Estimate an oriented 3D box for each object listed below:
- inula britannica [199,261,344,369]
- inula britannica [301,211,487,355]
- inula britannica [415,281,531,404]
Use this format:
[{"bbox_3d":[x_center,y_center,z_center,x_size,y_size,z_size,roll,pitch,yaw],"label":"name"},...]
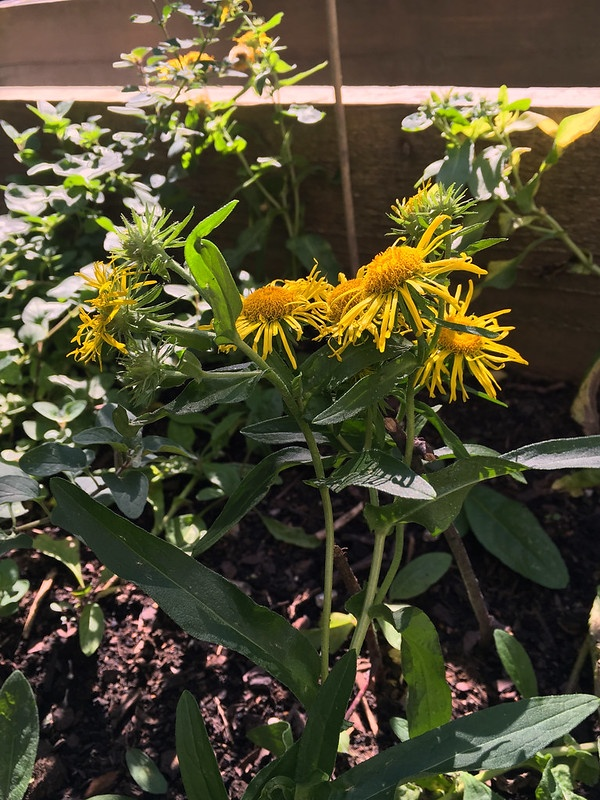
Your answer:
[{"bbox_3d":[-0.025,-0.101,0.903,0.137,0.040,0.124,4,43,20],"label":"inula britannica"},{"bbox_3d":[0.110,-0.123,0.789,0.169,0.059,0.176,-9,31,38],"label":"inula britannica"},{"bbox_3d":[0.209,-0.065,0.891,0.145,0.053,0.162,-44,29,-16],"label":"inula britannica"}]
